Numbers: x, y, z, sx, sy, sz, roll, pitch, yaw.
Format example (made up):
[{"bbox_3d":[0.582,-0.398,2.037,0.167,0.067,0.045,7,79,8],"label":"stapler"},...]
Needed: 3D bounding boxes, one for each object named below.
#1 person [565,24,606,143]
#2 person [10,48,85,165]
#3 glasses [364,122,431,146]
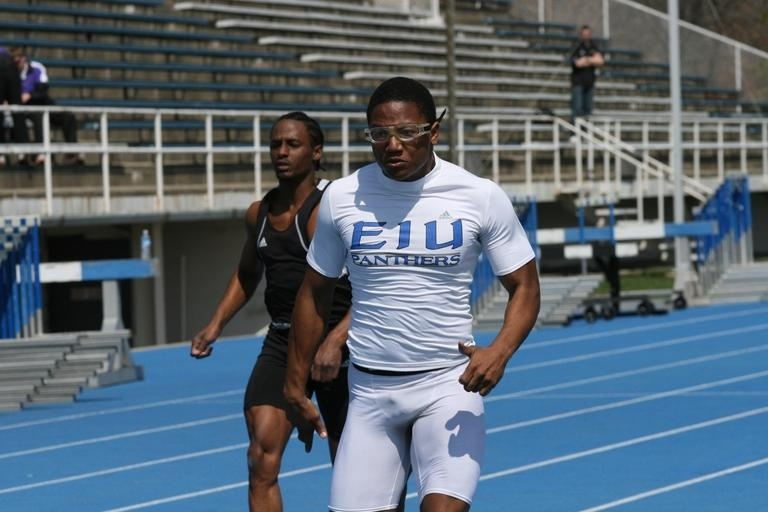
[{"bbox_3d":[3.428,-2.998,26.625,0.525,1.602,0.937,-2,1,3],"label":"person"},{"bbox_3d":[-5.471,-2.382,24.689,0.574,1.660,0.949,-4,34,24],"label":"person"},{"bbox_3d":[0.160,-1.256,16.471,0.692,0.199,0.136,-2,1,-3],"label":"glasses"}]
